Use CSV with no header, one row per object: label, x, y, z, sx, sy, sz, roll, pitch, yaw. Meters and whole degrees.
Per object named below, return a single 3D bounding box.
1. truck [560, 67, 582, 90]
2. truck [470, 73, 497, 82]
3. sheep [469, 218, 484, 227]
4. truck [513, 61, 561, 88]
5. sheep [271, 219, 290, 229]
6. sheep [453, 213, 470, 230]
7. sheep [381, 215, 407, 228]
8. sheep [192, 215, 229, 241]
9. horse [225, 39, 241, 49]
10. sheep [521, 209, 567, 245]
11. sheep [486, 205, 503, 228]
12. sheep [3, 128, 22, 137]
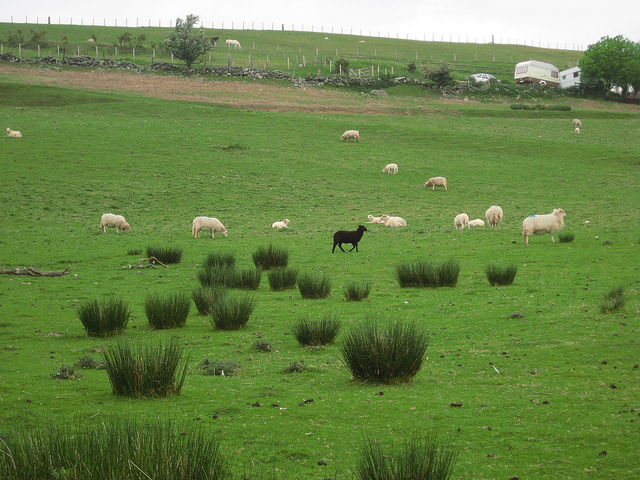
truck,30.934,-20.165,166.723,1.996,2.535,11.087,6,8,7
truck,20.502,-20.785,171.011,2.965,0.718,3.065,0,20,-3
sheep,11.597,-1.290,99.826,0.879,0.479,0.482,-2,13,-3
truck,27.362,-20.487,166.827,5.497,2.838,3.637,-4,13,-33
sheep,-2.907,-1.152,99.813,1.472,0.688,0.535,-3,1,-3
sheep,10.472,-1.357,99.490,1.194,1.079,1.042,6,9,9
sheep,5.527,-1.338,100.744,1.815,0.781,0.763,3,2,31
sheep,-7.994,-0.848,98.414,2.523,1.519,2.951,4,9,-6
horse,-11.313,-25.799,177.638,1.946,1.180,2.320,4,9,-5
sheep,15.696,-0.996,95.398,2.736,2.588,1.945,5,9,1
sheep,12.818,-1.697,99.330,1.027,1.549,1.090,7,9,15
sheep,-25.099,-8.753,110.703,1.463,0.597,0.675,2,9,-16
